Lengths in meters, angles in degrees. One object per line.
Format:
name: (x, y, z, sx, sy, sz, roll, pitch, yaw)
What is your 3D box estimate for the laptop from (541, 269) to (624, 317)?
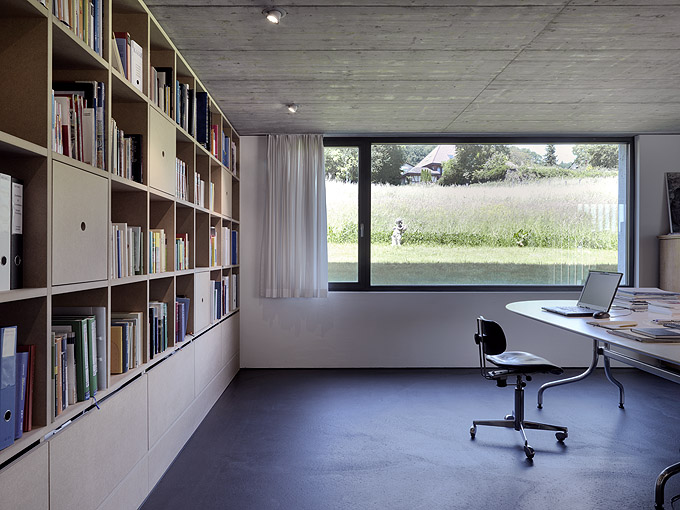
laptop: (1.899, 0.318, 4.403, 0.394, 0.281, 0.449, 0, -2, -6)

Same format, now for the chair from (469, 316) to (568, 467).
chair: (1.267, 0.966, 4.348, 0.832, 1.031, 0.941, -1, 0, 1)
